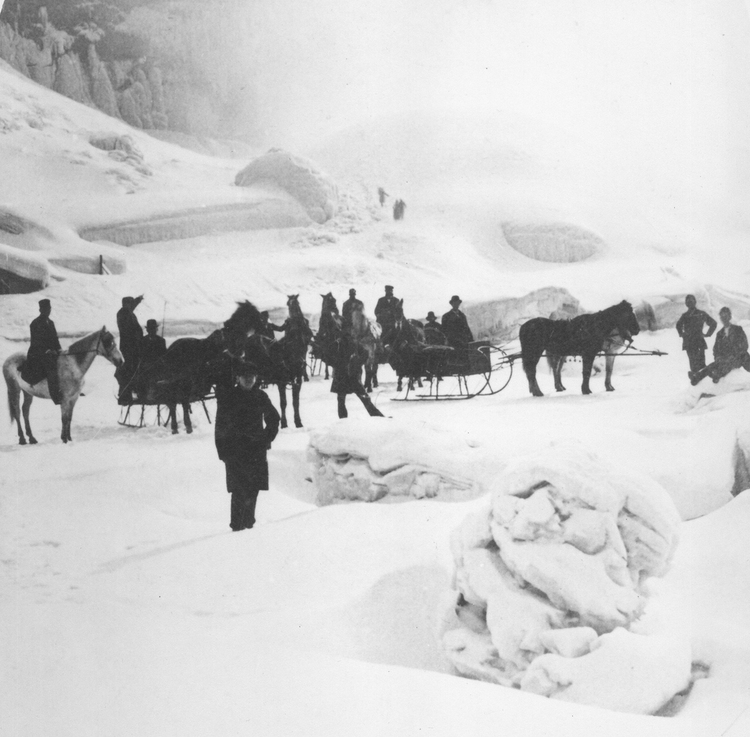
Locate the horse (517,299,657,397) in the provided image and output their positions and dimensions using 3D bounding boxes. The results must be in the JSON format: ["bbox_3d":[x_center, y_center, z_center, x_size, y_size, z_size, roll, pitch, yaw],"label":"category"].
[{"bbox_3d":[1.176,-0.090,5.345,0.440,0.436,0.140,-1,-10,2],"label":"horse"}]
